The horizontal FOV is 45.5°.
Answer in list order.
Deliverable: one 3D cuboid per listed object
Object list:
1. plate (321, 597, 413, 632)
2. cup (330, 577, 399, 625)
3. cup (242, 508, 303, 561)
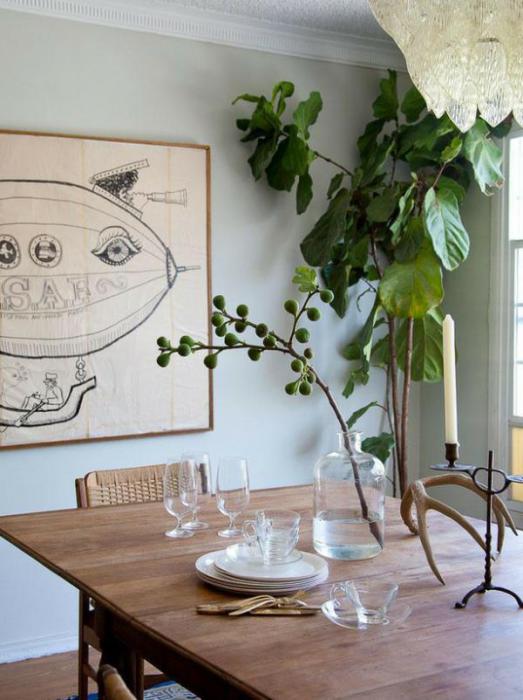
[{"bbox_3d":[0.162,0.399,0.961,0.135,0.029,0.109,0,-3,0],"label":"plate"},{"bbox_3d":[0.150,0.400,0.965,0.074,0.032,0.079,-6,0,0],"label":"cup"},{"bbox_3d":[0.030,0.358,1.214,0.093,0.092,0.131,2,-11,1],"label":"cup"}]
